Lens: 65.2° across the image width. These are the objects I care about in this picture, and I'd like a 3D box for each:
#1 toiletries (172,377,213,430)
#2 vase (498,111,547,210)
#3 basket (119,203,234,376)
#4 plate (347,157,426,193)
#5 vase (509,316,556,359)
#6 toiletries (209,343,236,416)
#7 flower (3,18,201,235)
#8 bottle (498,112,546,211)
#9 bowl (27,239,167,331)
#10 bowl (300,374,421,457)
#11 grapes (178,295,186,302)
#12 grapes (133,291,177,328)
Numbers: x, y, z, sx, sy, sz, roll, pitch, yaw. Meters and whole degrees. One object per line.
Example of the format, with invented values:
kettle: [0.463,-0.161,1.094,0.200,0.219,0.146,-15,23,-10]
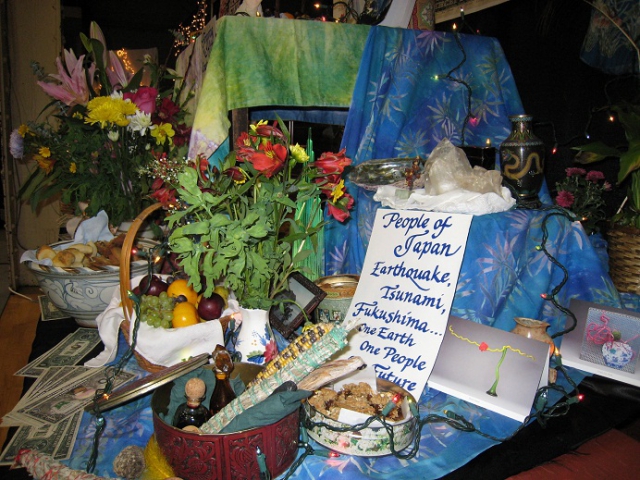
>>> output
toiletries: [-0.295,0.389,1.174,0.071,0.124,0.072,-11,21,-39]
vase: [0.671,-0.267,1.645,0.130,0.281,0.129,-25,25,-30]
basket: [-0.450,0.110,1.598,0.279,0.576,0.317,-7,16,-32]
plate: [0.212,-0.237,1.678,0.225,0.107,0.183,-7,19,-35]
vase: [0.624,0.275,1.435,0.099,0.124,0.112,1,0,-12]
toiletries: [-0.232,0.336,1.227,0.047,0.149,0.068,-3,19,-19]
flower: [-0.859,-0.477,1.981,0.501,0.498,0.456,19,39,35]
bottle: [0.651,-0.241,1.641,0.118,0.328,0.122,4,20,-1]
bowl: [-0.782,0.166,1.851,0.374,0.260,0.432,-11,19,-38]
bowl: [0.099,0.451,1.287,0.271,0.094,0.274,9,11,-2]
grapes: [-0.420,0.179,1.536,0.017,0.018,0.021,-20,48,6]
grapes: [-0.484,0.212,1.490,0.079,0.062,0.104,35,20,-18]
